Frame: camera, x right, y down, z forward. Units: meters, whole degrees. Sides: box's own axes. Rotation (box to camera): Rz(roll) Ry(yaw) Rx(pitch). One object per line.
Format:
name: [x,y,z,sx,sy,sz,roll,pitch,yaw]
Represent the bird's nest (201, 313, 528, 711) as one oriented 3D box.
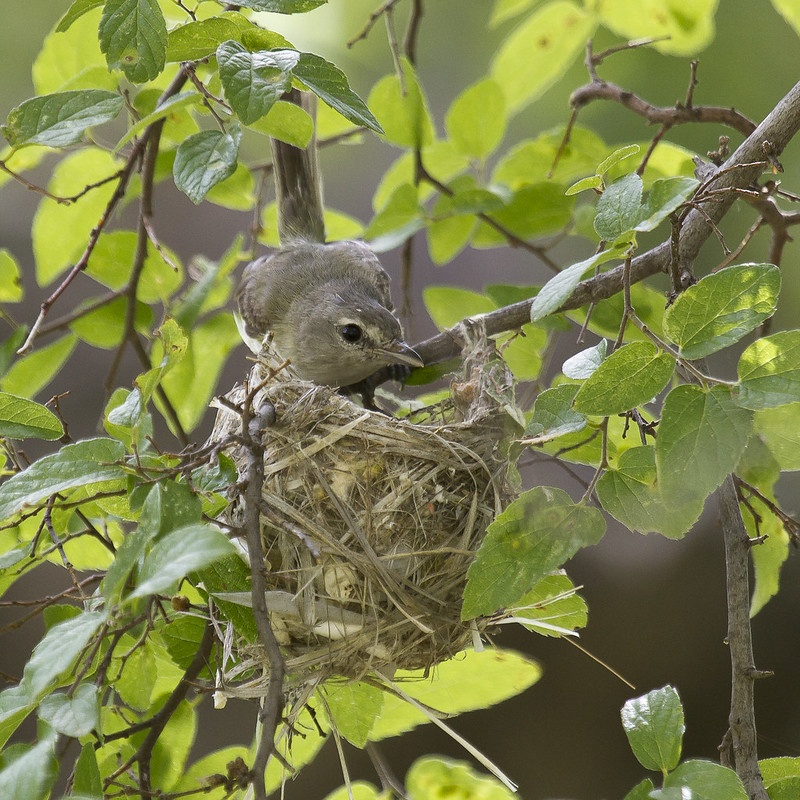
bird's nest: [-0.003,0.191,2.354,0.567,0.485,0.384,-15,-8,0]
